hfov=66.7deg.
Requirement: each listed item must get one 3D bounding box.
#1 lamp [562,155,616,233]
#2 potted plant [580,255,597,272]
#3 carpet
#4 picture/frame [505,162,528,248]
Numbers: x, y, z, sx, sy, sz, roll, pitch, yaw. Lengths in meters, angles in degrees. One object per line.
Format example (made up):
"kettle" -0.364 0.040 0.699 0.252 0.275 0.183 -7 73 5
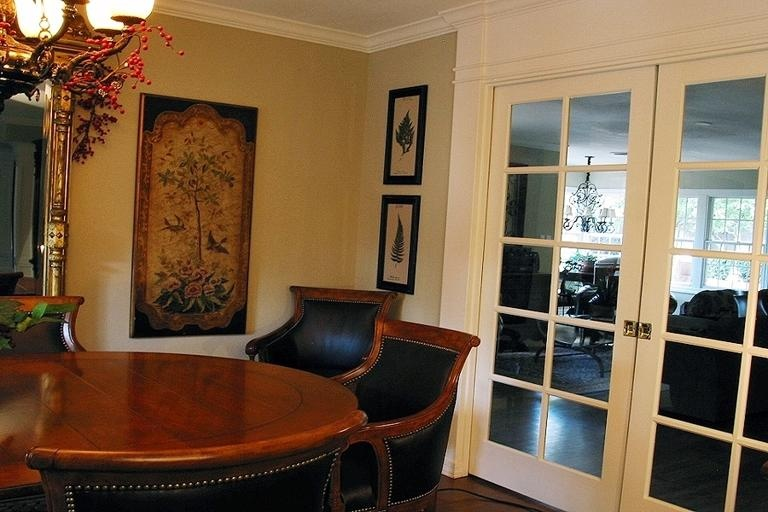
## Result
"lamp" 1.277 -0.368 3.726 0.454 0.544 0.437 1 4 14
"potted plant" 1.298 0.051 3.711 0.078 0.128 0.079 -11 18 -36
"carpet" 1.173 0.736 3.735 0.030 0.292 0.771 1 0 -45
"picture/frame" 0.904 -0.347 4.072 0.113 0.484 0.048 4 -4 31
